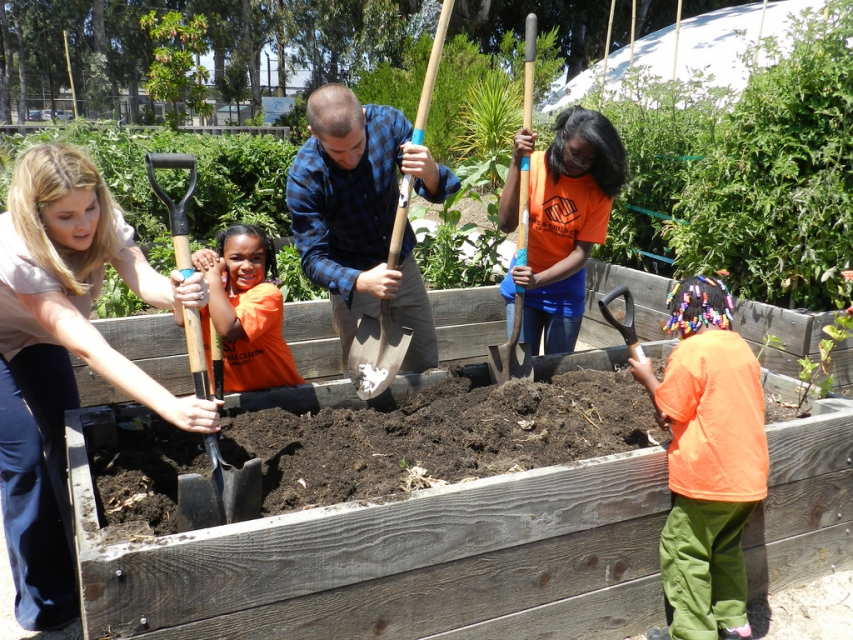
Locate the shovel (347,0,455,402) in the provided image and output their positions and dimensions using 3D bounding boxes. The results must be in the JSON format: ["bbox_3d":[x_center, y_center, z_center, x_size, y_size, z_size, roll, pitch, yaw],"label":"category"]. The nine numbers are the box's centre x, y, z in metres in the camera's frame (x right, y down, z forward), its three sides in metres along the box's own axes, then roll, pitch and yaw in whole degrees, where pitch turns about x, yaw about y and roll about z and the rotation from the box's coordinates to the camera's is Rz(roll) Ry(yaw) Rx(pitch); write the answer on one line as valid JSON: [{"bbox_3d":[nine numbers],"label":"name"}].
[{"bbox_3d":[-0.178,-0.631,4.194,0.492,2.175,0.769,7,16,27],"label":"shovel"}]

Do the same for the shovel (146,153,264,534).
[{"bbox_3d":[-0.934,0.236,3.180,0.340,1.877,0.116,-9,18,-15],"label":"shovel"}]

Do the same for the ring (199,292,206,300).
[{"bbox_3d":[-1.022,-0.108,3.448,0.010,0.032,0.032,1,18,46],"label":"ring"}]

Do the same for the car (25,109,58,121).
[{"bbox_3d":[-21.590,-11.477,42.329,0.895,0.684,6.981,-8,17,-29],"label":"car"}]
